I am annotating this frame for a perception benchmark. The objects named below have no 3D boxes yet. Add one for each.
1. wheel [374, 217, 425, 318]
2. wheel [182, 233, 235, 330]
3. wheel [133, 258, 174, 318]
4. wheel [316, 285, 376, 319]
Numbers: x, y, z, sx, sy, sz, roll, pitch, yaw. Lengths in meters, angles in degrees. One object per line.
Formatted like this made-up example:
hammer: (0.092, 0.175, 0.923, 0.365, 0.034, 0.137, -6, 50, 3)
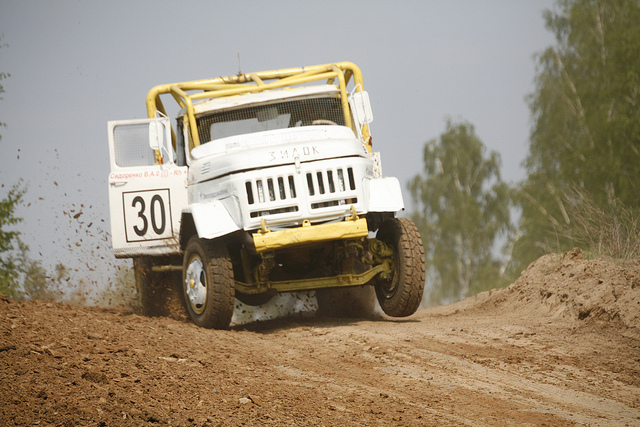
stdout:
wheel: (1.598, 1.056, 16.126, 0.440, 1.998, 1.064, -1, -4, -37)
wheel: (-2.105, 1.308, 15.478, 1.133, 1.824, 0.436, -7, -5, 43)
wheel: (-3.426, 1.524, 16.800, 0.798, 1.255, 0.353, -4, -3, 5)
wheel: (0.584, 1.982, 17.800, 1.268, 0.685, 0.401, -5, -3, 1)
